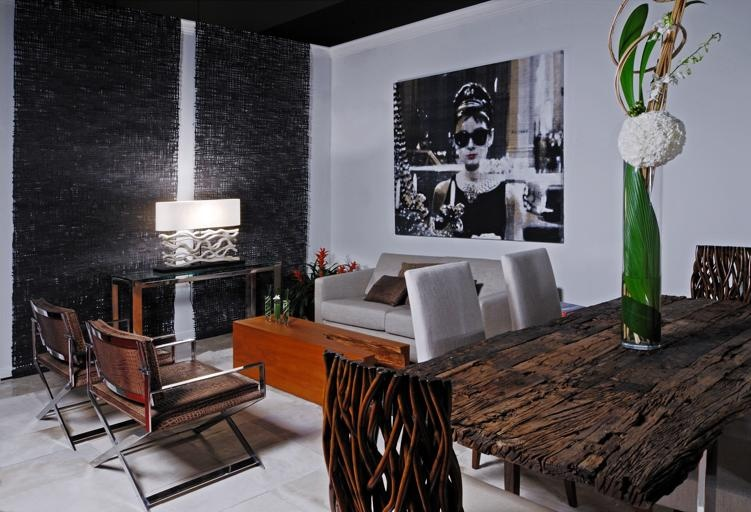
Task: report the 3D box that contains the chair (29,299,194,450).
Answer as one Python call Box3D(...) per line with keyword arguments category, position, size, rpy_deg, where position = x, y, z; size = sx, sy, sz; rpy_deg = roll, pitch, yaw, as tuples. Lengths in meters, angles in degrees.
Box3D(category="chair", position=(-2.098, 0.862, 4.232), size=(1.111, 1.275, 1.010), rpy_deg=(-1, 3, -44))

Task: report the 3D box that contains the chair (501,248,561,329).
Box3D(category="chair", position=(1.035, 0.222, 3.310), size=(0.362, 0.484, 0.358), rpy_deg=(0, 16, 43))

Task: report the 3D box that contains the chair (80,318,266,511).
Box3D(category="chair", position=(-1.257, 0.795, 3.545), size=(1.080, 1.307, 1.207), rpy_deg=(-6, 9, -42))

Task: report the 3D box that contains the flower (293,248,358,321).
Box3D(category="flower", position=(-0.687, 0.357, 6.377), size=(0.694, 0.944, 0.921), rpy_deg=(1, 3, -26))
